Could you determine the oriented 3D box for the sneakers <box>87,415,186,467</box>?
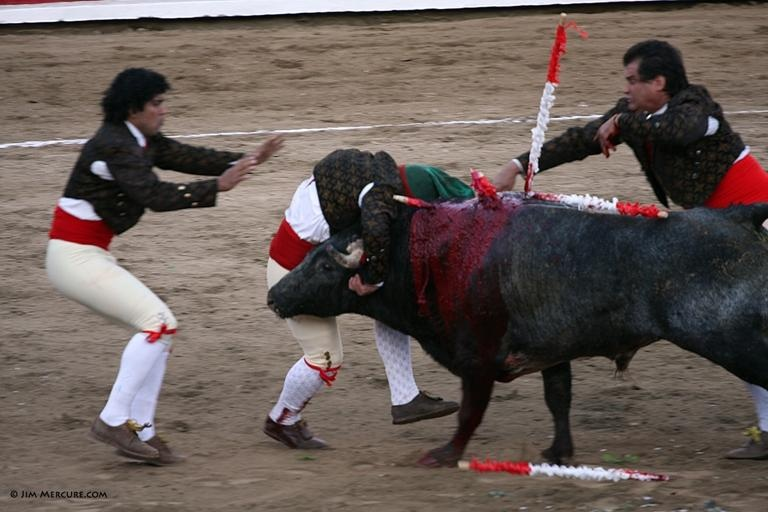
[{"bbox_3d":[-1.502,1.127,6.538,0.714,0.172,0.238,13,4,-12],"label":"sneakers"}]

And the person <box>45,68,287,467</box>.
[{"bbox_3d":[-1.447,0.051,6.558,1.155,2.383,1.345,9,26,19],"label":"person"}]
